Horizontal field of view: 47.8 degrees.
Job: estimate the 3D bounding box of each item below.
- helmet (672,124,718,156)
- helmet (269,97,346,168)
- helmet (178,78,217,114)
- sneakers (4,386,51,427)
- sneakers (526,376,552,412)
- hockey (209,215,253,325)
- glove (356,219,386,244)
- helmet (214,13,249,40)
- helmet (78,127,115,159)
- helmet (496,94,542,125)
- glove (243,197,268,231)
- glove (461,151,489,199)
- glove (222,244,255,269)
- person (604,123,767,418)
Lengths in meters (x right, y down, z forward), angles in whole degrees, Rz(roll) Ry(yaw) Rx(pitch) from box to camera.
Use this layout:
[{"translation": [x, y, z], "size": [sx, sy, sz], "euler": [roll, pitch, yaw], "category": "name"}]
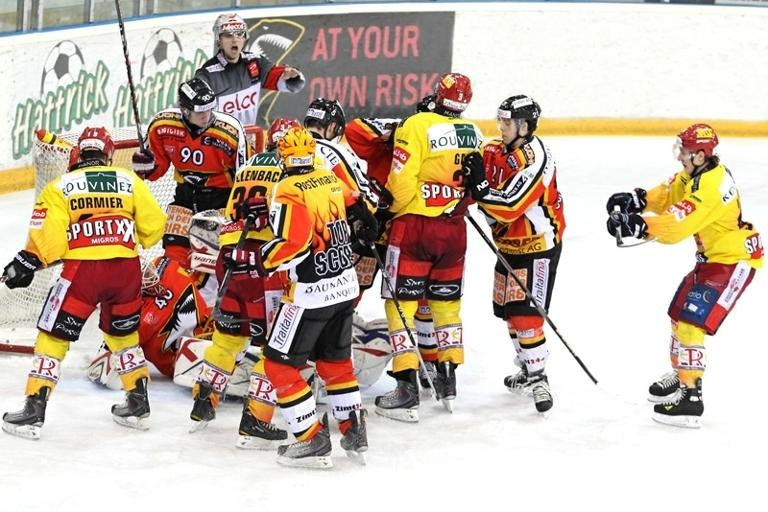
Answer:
[{"translation": [2.369, -0.816, 6.442], "size": [0.363, 0.292, 0.274], "euler": [3, 13, 26], "category": "helmet"}, {"translation": [-0.465, -0.886, 6.233], "size": [0.416, 0.486, 0.375], "euler": [-6, 17, -37], "category": "helmet"}, {"translation": [-1.465, -1.254, 6.791], "size": [0.244, 0.217, 0.318], "euler": [-23, 50, -28], "category": "helmet"}, {"translation": [-2.389, 0.998, 5.754], "size": [0.285, 0.246, 0.149], "euler": [0, 5, -7], "category": "sneakers"}, {"translation": [1.164, 1.007, 6.476], "size": [0.119, 0.135, 0.308], "euler": [-24, 33, 8], "category": "sneakers"}, {"translation": [-1.015, 0.090, 5.767], "size": [0.269, 0.732, 0.029], "euler": [15, -13, 8], "category": "hockey"}, {"translation": [-0.108, -0.150, 6.160], "size": [0.204, 0.071, 0.194], "euler": [1, 15, -22], "category": "glove"}, {"translation": [-1.382, -2.052, 7.777], "size": [0.232, 0.219, 0.271], "euler": [-2, -19, -21], "category": "helmet"}, {"translation": [-1.987, -0.791, 6.022], "size": [0.218, 0.248, 0.264], "euler": [5, 25, 5], "category": "helmet"}, {"translation": [1.004, -1.078, 6.414], "size": [0.279, 0.197, 0.212], "euler": [16, 13, 8], "category": "helmet"}, {"translation": [-0.894, -0.283, 5.860], "size": [0.158, 0.170, 0.192], "euler": [0, 15, -11], "category": "glove"}, {"translation": [0.668, -0.586, 6.405], "size": [0.272, 0.310, 0.105], "euler": [4, -11, -45], "category": "glove"}, {"translation": [-0.936, 0.011, 5.523], "size": [0.175, 0.120, 0.257], "euler": [-1, 5, -20], "category": "glove"}, {"translation": [2.274, 0.118, 6.456], "size": [0.942, 2.165, 0.655], "euler": [3, 6, 25], "category": "person"}]
